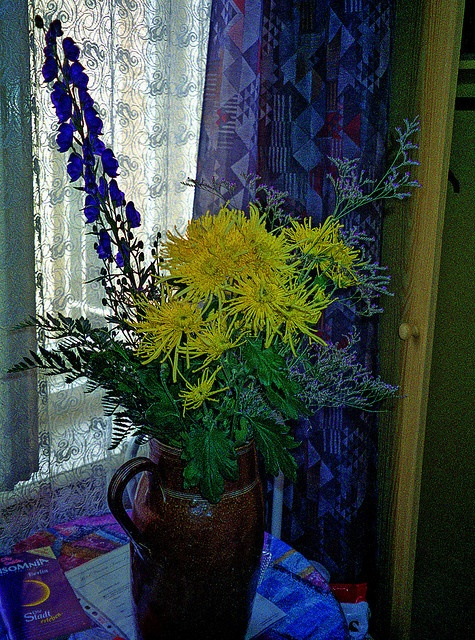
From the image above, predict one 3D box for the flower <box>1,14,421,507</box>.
[{"bbox_3d":[-0.013,-0.044,0.627,0.387,0.482,0.388,3,8,1],"label":"flower"}]
